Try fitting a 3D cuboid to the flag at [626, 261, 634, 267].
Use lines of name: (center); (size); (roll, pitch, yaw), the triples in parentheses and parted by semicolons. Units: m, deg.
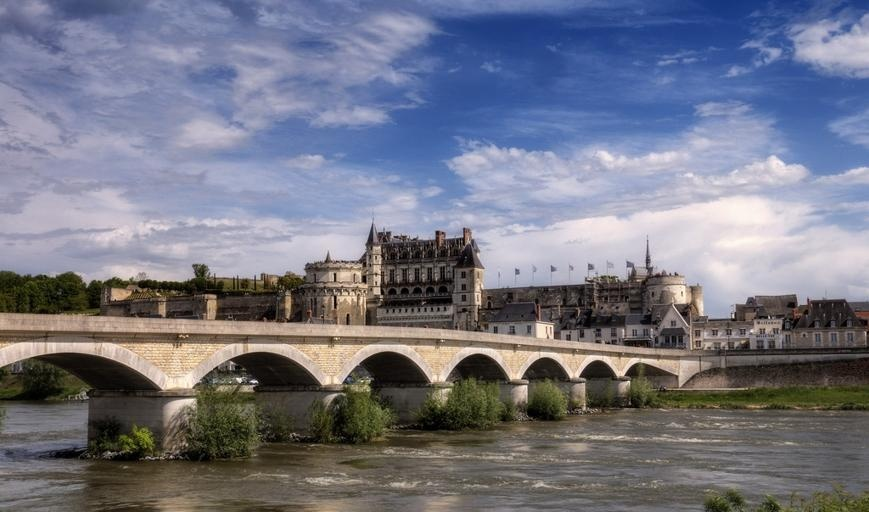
flag: (16.759, 0.672, 113.767); (0.754, 0.422, 0.066); (1, -13, 5)
